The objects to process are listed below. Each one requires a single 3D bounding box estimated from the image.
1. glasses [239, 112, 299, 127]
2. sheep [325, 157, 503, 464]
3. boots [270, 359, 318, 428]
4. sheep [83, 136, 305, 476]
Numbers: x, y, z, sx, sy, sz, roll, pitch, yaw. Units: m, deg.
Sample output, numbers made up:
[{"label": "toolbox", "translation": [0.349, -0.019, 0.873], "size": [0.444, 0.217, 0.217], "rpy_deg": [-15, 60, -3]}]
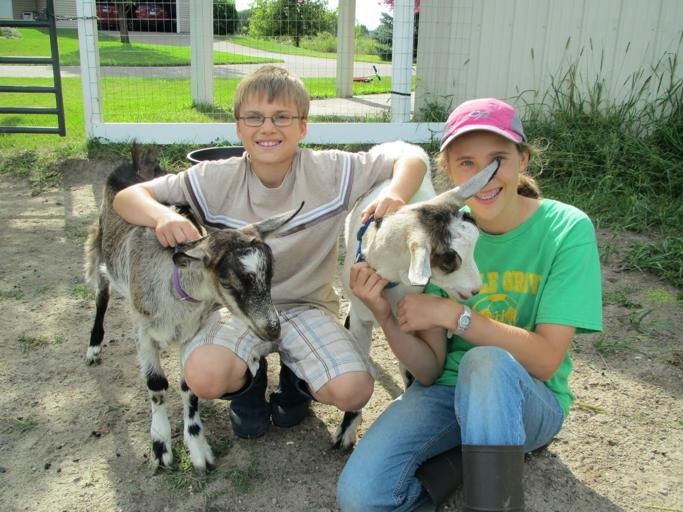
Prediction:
[{"label": "glasses", "translation": [-0.425, -0.785, 3.189], "size": [0.342, 0.076, 0.135], "rpy_deg": [-1, 18, -8]}, {"label": "sheep", "translation": [0.324, 0.288, 3.081], "size": [0.725, 1.692, 1.018], "rpy_deg": [-9, 20, -30]}, {"label": "boots", "translation": [-0.330, 0.804, 3.431], "size": [0.187, 0.457, 0.449], "rpy_deg": [1, 29, -7]}, {"label": "sheep", "translation": [-0.973, 0.243, 3.276], "size": [0.702, 1.592, 1.793], "rpy_deg": [-14, 23, -40]}]
